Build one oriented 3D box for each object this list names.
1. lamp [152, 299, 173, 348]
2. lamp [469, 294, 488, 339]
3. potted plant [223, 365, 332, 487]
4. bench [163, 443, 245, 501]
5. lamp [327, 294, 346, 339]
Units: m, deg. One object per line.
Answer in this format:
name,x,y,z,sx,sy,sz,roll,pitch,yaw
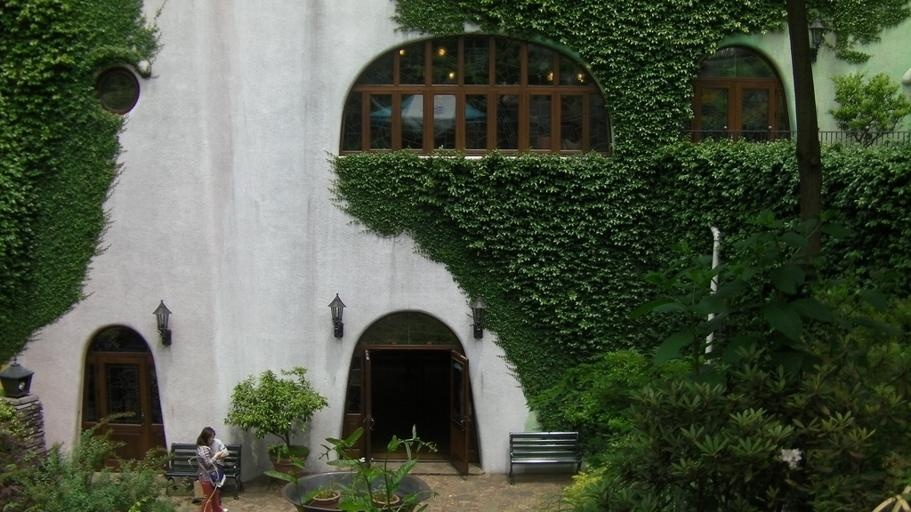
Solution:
lamp,-8.763,2.004,29.870,0.486,1.376,0.366,0,-6,-15
lamp,0.686,1.854,30.039,0.458,1.223,0.358,-2,-6,1
potted plant,-5.270,4.840,29.364,2.665,3.089,1.265,-1,-6,-8
bench,-7.717,6.322,29.632,2.110,1.189,0.881,7,-27,-33
lamp,-3.559,1.825,29.962,0.480,1.320,0.307,-1,-6,-6
